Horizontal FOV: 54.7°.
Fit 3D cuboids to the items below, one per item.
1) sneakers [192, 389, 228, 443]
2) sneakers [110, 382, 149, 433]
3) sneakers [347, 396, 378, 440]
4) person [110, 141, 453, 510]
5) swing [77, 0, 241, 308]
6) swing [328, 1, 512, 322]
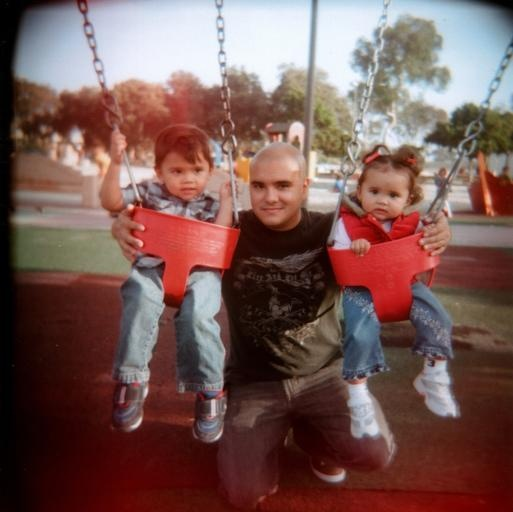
[{"bbox_3d":[-0.176,0.587,1.907,0.091,0.123,0.270,7,22,0],"label":"sneakers"},{"bbox_3d":[-0.458,0.536,1.771,0.090,0.207,0.123,4,-5,2],"label":"sneakers"},{"bbox_3d":[0.416,0.637,1.930,0.070,0.093,0.198,-6,22,8],"label":"sneakers"},{"bbox_3d":[0.101,0.349,2.052,1.392,1.407,0.781,-5,16,-9],"label":"person"},{"bbox_3d":[-0.356,-0.389,1.901,0.596,1.172,0.498,-2,15,-20],"label":"swing"},{"bbox_3d":[0.642,-0.365,1.975,0.615,1.272,0.612,7,14,12],"label":"swing"}]
